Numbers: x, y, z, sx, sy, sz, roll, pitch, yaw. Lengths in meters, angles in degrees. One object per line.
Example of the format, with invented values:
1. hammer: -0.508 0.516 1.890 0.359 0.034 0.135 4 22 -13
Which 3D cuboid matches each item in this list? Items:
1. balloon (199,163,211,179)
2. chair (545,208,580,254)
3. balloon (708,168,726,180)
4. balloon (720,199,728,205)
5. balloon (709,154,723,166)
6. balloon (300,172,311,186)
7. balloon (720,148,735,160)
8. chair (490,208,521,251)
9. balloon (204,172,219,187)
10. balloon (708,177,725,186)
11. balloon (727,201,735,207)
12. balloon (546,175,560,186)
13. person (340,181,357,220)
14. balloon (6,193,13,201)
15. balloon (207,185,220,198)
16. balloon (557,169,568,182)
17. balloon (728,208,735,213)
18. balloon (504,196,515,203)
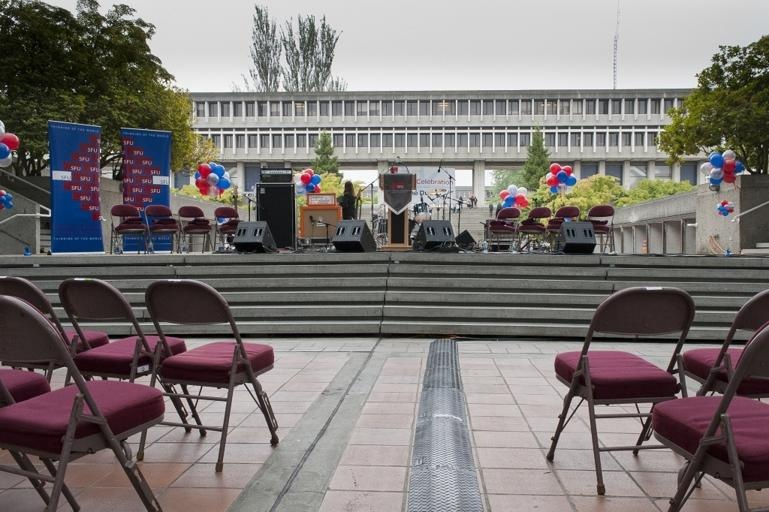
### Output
1. balloon: -5.733 -2.647 28.563 0.465 0.492 0.445 5 5 -3
2. chair: 5.070 -0.758 25.924 0.731 1.199 0.965 4 6 40
3. balloon: 10.507 -2.541 28.594 0.449 0.358 0.403 0 6 6
4. balloon: 11.686 -1.799 31.178 0.197 0.103 0.198 0 -3 25
5. balloon: 10.355 -2.947 28.384 0.398 0.452 0.487 3 7 33
6. balloon: -2.709 -2.639 31.745 0.442 0.416 0.416 -1 0 12
7. balloon: 10.857 -3.147 28.636 0.394 0.272 0.507 -1 11 19
8. chair: 3.492 -0.756 26.334 0.776 1.135 0.981 8 -3 -8
9. balloon: -5.401 -2.359 28.306 0.360 0.389 0.338 8 22 -28
10. balloon: 10.624 -2.351 29.012 0.498 0.157 0.490 -1 1 16
11. balloon: 11.882 -1.731 31.168 0.212 0.106 0.204 4 -1 -38
12. balloon: 5.904 -2.602 31.936 0.412 0.301 0.297 -3 -36 -32
13. person: -1.055 -1.599 26.492 0.490 1.095 1.170 -1 6 -2
14. balloon: -11.583 -1.774 28.033 0.187 0.156 0.178 3 3 -21
15. balloon: -5.349 -2.051 28.541 0.448 0.339 0.517 -2 5 -12
16. balloon: 6.202 -2.720 31.664 0.348 0.421 0.450 0 6 14
17. balloon: 11.867 -1.510 31.043 0.171 0.165 0.263 2 6 27
18. balloon: 4.594 -1.998 33.193 0.198 0.284 0.638 3 6 34
